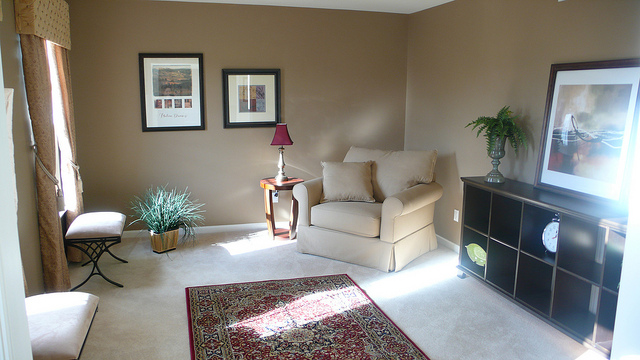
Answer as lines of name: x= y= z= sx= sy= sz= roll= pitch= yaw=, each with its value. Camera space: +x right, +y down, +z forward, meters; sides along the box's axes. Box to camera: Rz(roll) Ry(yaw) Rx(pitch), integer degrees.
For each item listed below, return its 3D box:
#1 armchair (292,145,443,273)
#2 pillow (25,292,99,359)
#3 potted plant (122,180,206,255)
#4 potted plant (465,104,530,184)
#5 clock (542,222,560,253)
armchair: x=0.737 y=0.362 z=6.018 sx=2.094 sy=1.764 sz=1.713 roll=3 pitch=5 yaw=34
pillow: x=-2.206 y=1.217 z=3.445 sx=0.523 sy=0.330 sz=0.534 roll=-4 pitch=15 yaw=-9
potted plant: x=-2.263 y=0.480 z=6.154 sx=1.108 sy=0.723 sz=1.087 roll=-1 pitch=3 yaw=-32
potted plant: x=2.171 y=-0.465 z=5.046 sx=0.564 sy=0.882 sz=0.688 roll=-3 pitch=16 yaw=-1
clock: x=2.390 y=0.601 z=4.271 sx=0.092 sy=0.351 sz=0.221 roll=-4 pitch=16 yaw=-6
